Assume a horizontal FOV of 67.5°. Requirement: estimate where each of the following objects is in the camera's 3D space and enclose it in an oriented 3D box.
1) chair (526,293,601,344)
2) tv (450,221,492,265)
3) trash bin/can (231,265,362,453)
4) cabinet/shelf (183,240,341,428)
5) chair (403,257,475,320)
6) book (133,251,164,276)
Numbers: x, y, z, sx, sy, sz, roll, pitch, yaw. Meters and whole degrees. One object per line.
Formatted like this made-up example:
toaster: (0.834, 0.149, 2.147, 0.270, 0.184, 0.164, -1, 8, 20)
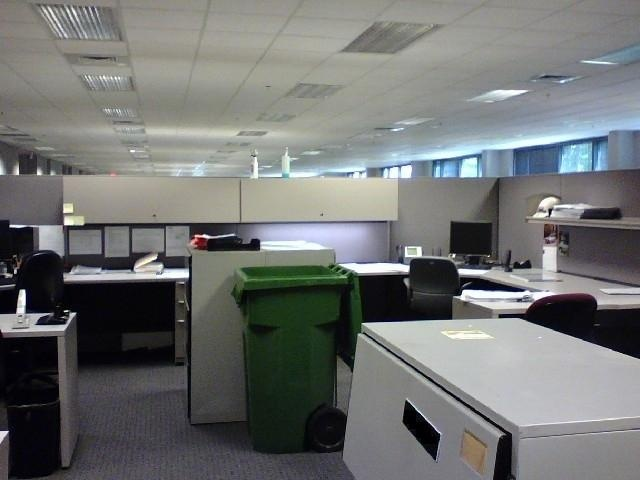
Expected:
chair: (1.360, 0.445, 2.644, 0.506, 0.309, 0.141, -3, 6, -24)
tv: (1.631, 0.021, 5.146, 0.431, 0.426, 0.217, -3, -10, 28)
trash bin/can: (-0.082, 0.693, 3.237, 0.994, 1.191, 0.854, -1, 4, -10)
cabinet/shelf: (-0.293, 0.569, 3.752, 1.297, 1.453, 0.748, 0, 1, -7)
chair: (1.076, 0.460, 4.511, 0.490, 0.616, 0.233, 1, 6, 11)
book: (-1.571, 0.216, 4.381, 0.253, 0.153, 0.416, -2, 6, -19)
